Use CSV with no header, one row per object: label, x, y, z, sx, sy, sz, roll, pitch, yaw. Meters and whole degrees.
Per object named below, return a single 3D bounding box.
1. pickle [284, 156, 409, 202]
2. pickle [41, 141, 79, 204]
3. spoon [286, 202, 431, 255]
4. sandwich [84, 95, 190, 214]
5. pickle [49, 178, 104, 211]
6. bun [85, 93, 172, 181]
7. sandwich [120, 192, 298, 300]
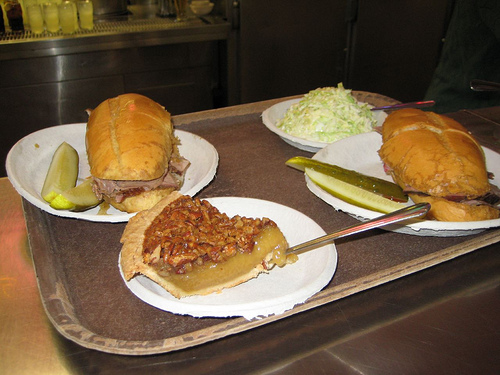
pickle,0.441,-0.033,1.955,0.360,0.082,0.270,13,24,37
pickle,-0.843,-0.046,2.026,0.209,0.064,0.557,-1,46,-21
spoon,0.430,0.164,1.661,0.533,0.024,0.066,-18,51,18
sandwich,-0.528,-0.181,1.945,0.395,0.225,0.613,-9,47,-15
pickle,-0.752,0.015,1.830,0.110,0.360,0.126,-32,75,17
bun,-0.557,-0.218,2.013,0.337,0.142,0.475,0,43,-6
sandwich,-0.170,0.215,1.500,0.470,0.131,0.362,6,32,10
